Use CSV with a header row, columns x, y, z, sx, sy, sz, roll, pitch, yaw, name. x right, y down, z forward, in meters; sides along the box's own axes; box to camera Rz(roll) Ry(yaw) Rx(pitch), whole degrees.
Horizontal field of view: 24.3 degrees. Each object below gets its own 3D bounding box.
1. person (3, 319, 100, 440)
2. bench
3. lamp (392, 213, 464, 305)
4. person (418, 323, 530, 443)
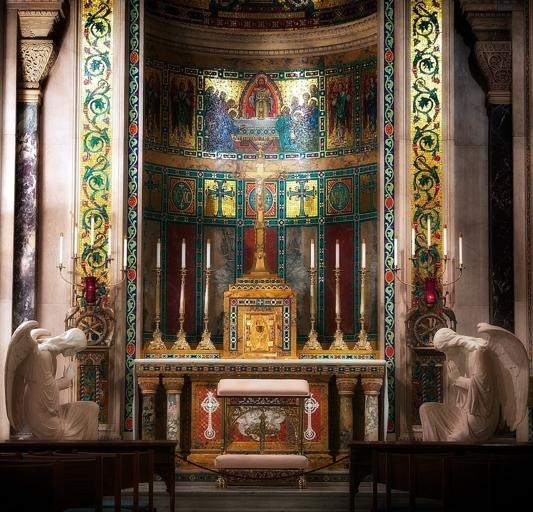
x,y,z,sx,sy,sz,roll,pitch,yaw,name
-2.201,1.283,12.661,1.026,1.179,0.525,5,-9,-33,person
-0.041,2.180,12.560,0.914,0.340,0.314,0,-8,0,bench
1.790,0.031,13.692,0.804,1.003,0.385,-1,-7,8,lamp
2.263,1.322,13.330,1.097,2.020,1.166,0,-4,14,person
